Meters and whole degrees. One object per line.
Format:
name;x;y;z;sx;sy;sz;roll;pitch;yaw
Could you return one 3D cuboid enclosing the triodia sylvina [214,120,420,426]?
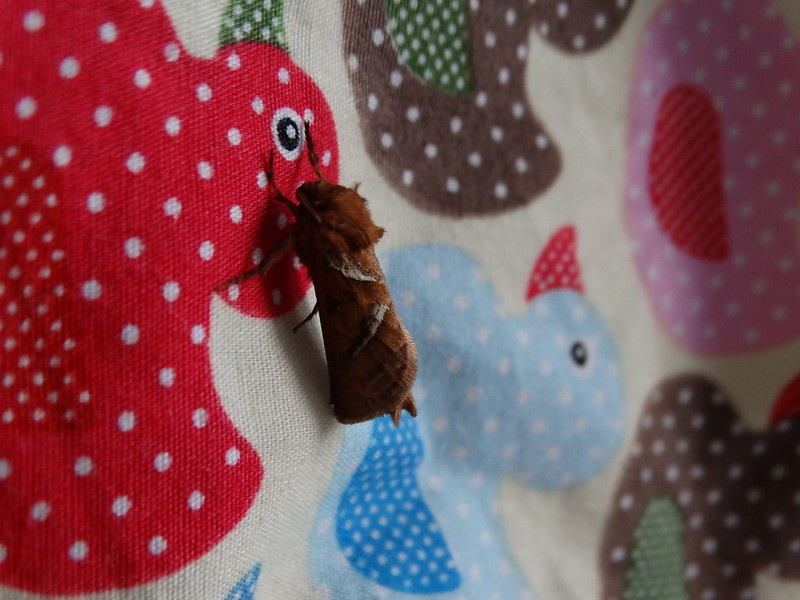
triodia sylvina;-0.129;-0.047;1.309;0.316;0.104;0.428;-22;108;-41
